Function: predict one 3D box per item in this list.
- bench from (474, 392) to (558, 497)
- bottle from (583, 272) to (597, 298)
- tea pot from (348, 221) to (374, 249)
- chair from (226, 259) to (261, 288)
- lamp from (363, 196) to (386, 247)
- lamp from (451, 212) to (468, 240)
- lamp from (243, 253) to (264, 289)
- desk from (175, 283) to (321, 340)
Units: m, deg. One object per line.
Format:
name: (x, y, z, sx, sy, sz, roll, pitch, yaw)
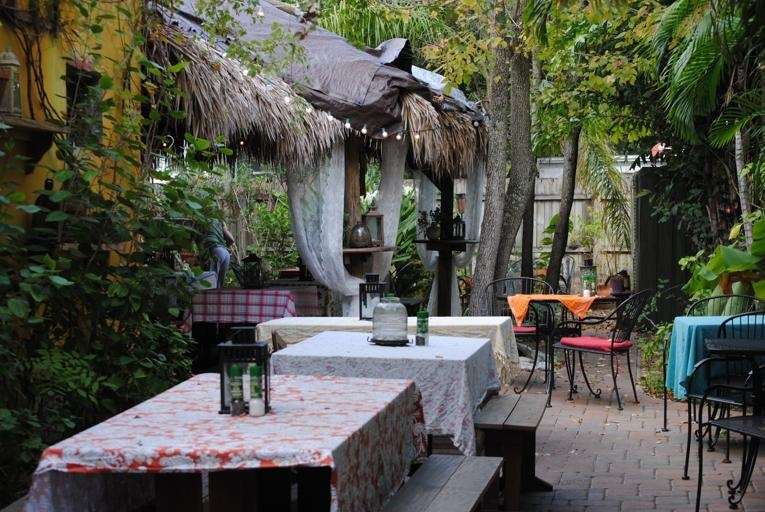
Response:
bench: (1.009, 1.125, 5.195, 0.572, 0.653, 1.297, -1, 3, 12)
bottle: (2.896, 0.413, 9.681, 0.269, 0.372, 0.272, 1, 3, 0)
tea pot: (-0.270, -0.271, 8.637, 0.293, 0.307, 0.299, 0, -4, 0)
chair: (-1.683, 0.219, 8.486, 0.402, 0.609, 0.410, 0, 5, -7)
lamp: (-0.126, -0.449, 9.050, 0.455, 0.641, 0.455, 0, -4, -15)
lamp: (1.146, -0.433, 10.410, 0.210, 0.400, 0.335, -2, -1, 6)
lamp: (-1.553, 0.147, 8.292, 0.283, 0.441, 0.261, 1, 14, 1)
desk: (-1.487, 0.629, 8.434, 1.450, 0.473, 1.518, 0, -5, 7)
